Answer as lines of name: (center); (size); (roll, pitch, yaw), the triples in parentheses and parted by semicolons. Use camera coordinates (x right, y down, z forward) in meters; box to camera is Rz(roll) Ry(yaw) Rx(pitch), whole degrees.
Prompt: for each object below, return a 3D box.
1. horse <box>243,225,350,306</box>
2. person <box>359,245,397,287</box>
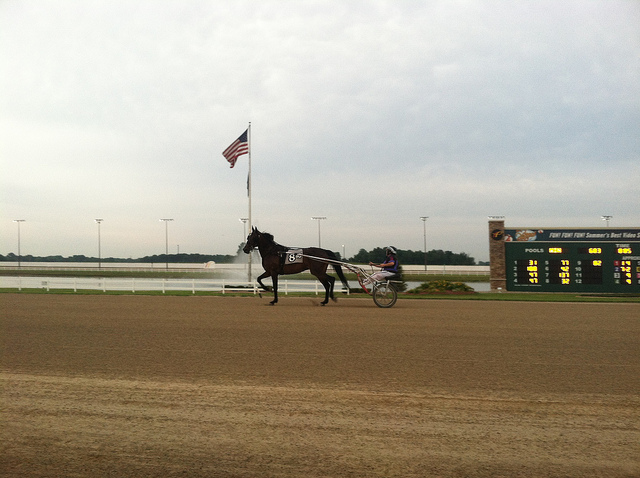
horse: (-0.604, 0.748, 20.032); (3.289, 1.903, 0.724); (2, -2, 25)
person: (1.615, 0.813, 19.449); (0.872, 1.159, 1.123); (0, 13, -4)
